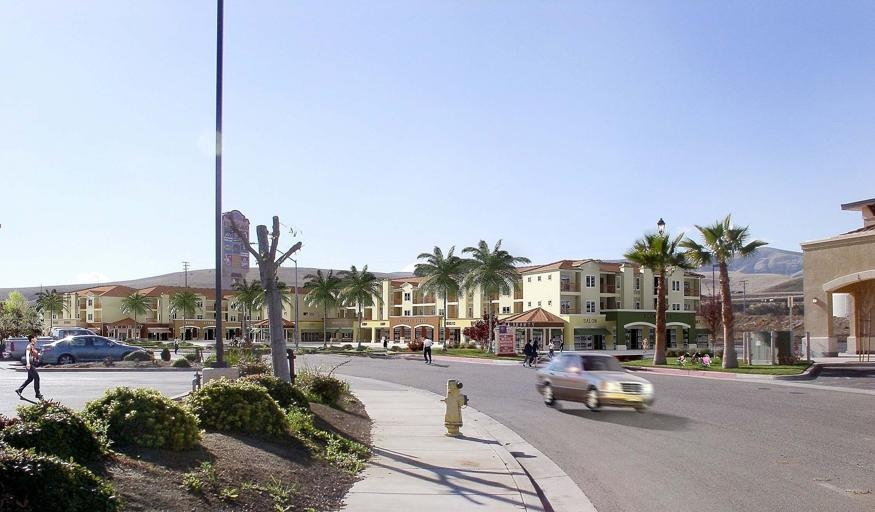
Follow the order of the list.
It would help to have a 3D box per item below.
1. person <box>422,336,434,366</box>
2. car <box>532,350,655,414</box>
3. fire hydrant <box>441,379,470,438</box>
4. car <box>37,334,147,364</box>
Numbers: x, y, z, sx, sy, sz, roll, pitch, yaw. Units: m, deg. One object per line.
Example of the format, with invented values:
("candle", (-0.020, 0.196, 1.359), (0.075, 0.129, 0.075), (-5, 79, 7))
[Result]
("person", (-0.755, 7.257, 46.999), (0.434, 1.775, 1.576), (-1, -9, -7))
("car", (5.803, 4.675, 23.214), (1.621, 2.152, 4.194), (6, -12, -38))
("fire hydrant", (0.534, 4.508, 18.352), (0.746, 1.573, 0.612), (-1, -11, -5))
("car", (-21.508, 5.745, 37.692), (4.658, 1.701, 1.340), (5, -11, -32))
